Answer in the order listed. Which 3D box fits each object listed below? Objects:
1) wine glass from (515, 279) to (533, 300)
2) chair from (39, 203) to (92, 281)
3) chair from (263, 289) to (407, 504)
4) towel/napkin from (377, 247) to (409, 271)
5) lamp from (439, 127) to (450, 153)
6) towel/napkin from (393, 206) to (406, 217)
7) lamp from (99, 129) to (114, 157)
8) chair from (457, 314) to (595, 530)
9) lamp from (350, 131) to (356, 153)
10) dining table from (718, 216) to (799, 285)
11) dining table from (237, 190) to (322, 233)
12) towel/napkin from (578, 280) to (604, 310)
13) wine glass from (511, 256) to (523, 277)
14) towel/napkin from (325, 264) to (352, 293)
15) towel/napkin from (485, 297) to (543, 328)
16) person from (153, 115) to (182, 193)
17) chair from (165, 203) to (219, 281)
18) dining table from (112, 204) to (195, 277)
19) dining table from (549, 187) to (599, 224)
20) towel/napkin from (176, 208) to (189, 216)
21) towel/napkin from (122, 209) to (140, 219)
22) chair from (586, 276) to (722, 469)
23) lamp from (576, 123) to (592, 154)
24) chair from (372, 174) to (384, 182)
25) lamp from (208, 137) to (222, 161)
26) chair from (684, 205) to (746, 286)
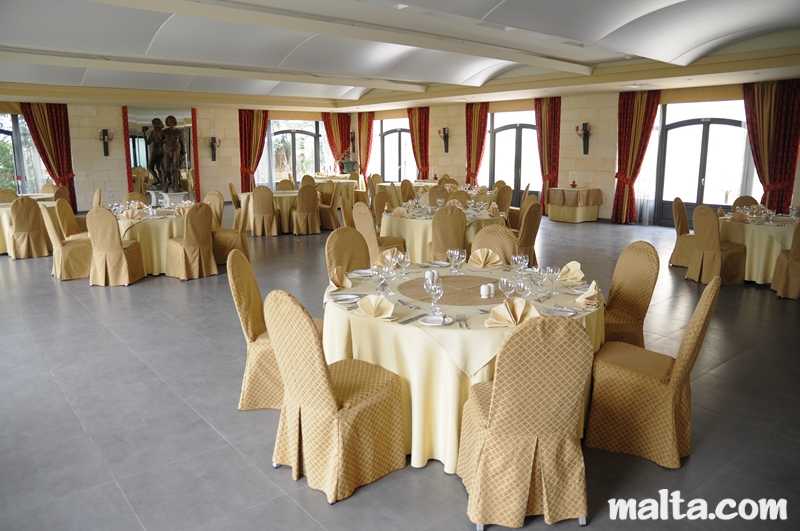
[{"bbox_3d":[1.001,0.209,3.940,0.152,0.248,0.153,1,10,18],"label":"wine glass"},{"bbox_3d":[-5.765,-0.335,8.392,0.839,1.306,0.896,-13,30,-35],"label":"chair"},{"bbox_3d":[-0.457,1.004,3.626,0.818,1.354,0.805,20,31,38],"label":"chair"},{"bbox_3d":[-0.092,-0.052,4.659,0.217,0.111,0.243,-30,-35,34],"label":"towel/napkin"},{"bbox_3d":[1.441,-4.059,16.401,0.320,0.808,0.210,7,14,36],"label":"lamp"},{"bbox_3d":[-0.004,-0.913,8.697,0.164,0.084,0.212,8,25,15],"label":"towel/napkin"},{"bbox_3d":[-8.877,-3.622,14.847,0.331,0.798,0.197,-9,13,-31],"label":"lamp"},{"bbox_3d":[0.824,1.077,3.302,0.898,1.582,0.944,-2,27,-2],"label":"chair"},{"bbox_3d":[-1.868,-4.704,19.230,0.217,0.827,0.066,3,12,23],"label":"lamp"},{"bbox_3d":[5.495,-0.244,7.556,0.936,0.744,0.969,4,9,35],"label":"dining table"},{"bbox_3d":[-2.694,-1.198,11.562,1.073,0.952,1.431,2,21,0],"label":"dining table"},{"bbox_3d":[1.575,0.260,4.073,0.181,0.121,0.269,-1,0,16],"label":"towel/napkin"},{"bbox_3d":[1.064,0.024,4.484,0.130,0.165,0.135,-7,19,-13],"label":"wine glass"},{"bbox_3d":[-0.545,0.137,4.455,0.215,0.238,0.229,-7,-11,-25],"label":"towel/napkin"},{"bbox_3d":[0.812,0.365,3.635,0.245,0.110,0.256,-8,6,8],"label":"towel/napkin"},{"bbox_3d":[-7.072,-3.158,14.942,0.837,1.976,1.012,-8,13,-28],"label":"person"},{"bbox_3d":[-3.401,-0.316,7.936,0.796,1.342,0.760,-10,31,-31],"label":"chair"},{"bbox_3d":[-4.173,-0.425,8.323,1.089,0.900,1.115,-3,7,-26],"label":"dining table"},{"bbox_3d":[4.813,-1.493,13.624,1.057,0.875,1.061,-7,13,-33],"label":"dining table"},{"bbox_3d":[-3.652,-0.861,8.226,0.181,0.080,0.198,-30,30,-34],"label":"towel/napkin"},{"bbox_3d":[-4.436,-0.811,8.091,0.182,0.087,0.193,-5,-6,-17],"label":"towel/napkin"},{"bbox_3d":[1.928,0.832,3.845,0.779,1.359,0.508,6,14,33],"label":"chair"},{"bbox_3d":[5.055,-3.406,13.601,0.407,0.829,0.201,4,13,27],"label":"lamp"},{"bbox_3d":[-0.719,-2.569,14.936,0.276,0.244,0.571,-3,11,-4],"label":"chair"},{"bbox_3d":[-6.294,-3.851,16.716,0.150,0.769,0.389,9,15,42],"label":"lamp"},{"bbox_3d":[4.865,-0.240,7.597,0.785,1.248,0.755,-23,28,-35],"label":"chair"}]
